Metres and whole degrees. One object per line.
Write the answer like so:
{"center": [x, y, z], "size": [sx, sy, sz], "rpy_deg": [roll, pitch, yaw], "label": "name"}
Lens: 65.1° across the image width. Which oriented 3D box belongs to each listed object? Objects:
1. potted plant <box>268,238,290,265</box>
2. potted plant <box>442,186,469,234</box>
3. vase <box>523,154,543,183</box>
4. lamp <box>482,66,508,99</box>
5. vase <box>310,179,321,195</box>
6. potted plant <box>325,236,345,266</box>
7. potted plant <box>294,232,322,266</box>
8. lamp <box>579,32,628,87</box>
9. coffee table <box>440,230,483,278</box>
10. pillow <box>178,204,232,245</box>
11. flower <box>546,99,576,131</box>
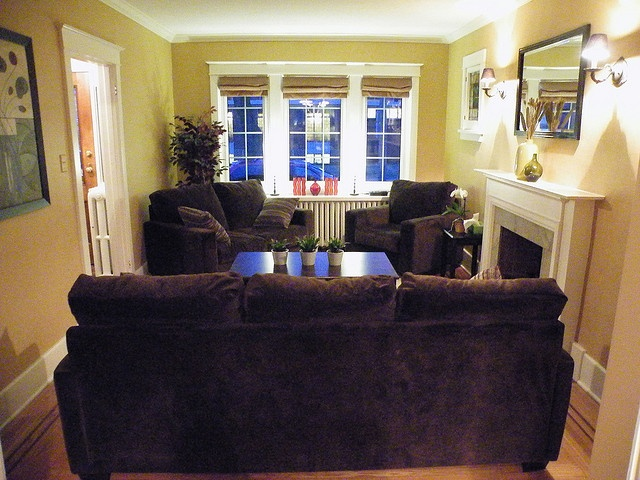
{"center": [-0.381, 0.114, 4.787], "size": [0.226, 0.282, 0.229], "rpy_deg": [0, 5, 6], "label": "potted plant"}
{"center": [1.601, -0.388, 5.930], "size": [0.270, 0.438, 0.970], "rpy_deg": [4, 13, 16], "label": "potted plant"}
{"center": [1.847, -0.627, 4.358], "size": [0.147, 0.244, 0.178], "rpy_deg": [5, 15, 20], "label": "vase"}
{"center": [1.850, -1.674, 5.405], "size": [0.239, 0.330, 0.462], "rpy_deg": [2, 13, 10], "label": "lamp"}
{"center": [-0.063, -0.736, 7.009], "size": [0.170, 0.256, 0.167], "rpy_deg": [-1, 1, -7], "label": "vase"}
{"center": [0.149, 0.118, 4.748], "size": [0.233, 0.284, 0.222], "rpy_deg": [1, 0, 0], "label": "potted plant"}
{"center": [-0.099, 0.096, 4.784], "size": [0.309, 0.322, 0.297], "rpy_deg": [0, -7, 1], "label": "potted plant"}
{"center": [2.014, -1.277, 3.618], "size": [0.224, 0.361, 0.392], "rpy_deg": [1, 13, 3], "label": "lamp"}
{"center": [1.619, 0.170, 5.778], "size": [0.431, 0.605, 0.699], "rpy_deg": [4, 14, 16], "label": "coffee table"}
{"center": [-1.199, -0.126, 5.253], "size": [0.522, 0.417, 0.349], "rpy_deg": [-3, 14, -10], "label": "pillow"}
{"center": [1.998, -1.051, 4.215], "size": [0.171, 0.253, 0.221], "rpy_deg": [9, 17, 35], "label": "flower"}
